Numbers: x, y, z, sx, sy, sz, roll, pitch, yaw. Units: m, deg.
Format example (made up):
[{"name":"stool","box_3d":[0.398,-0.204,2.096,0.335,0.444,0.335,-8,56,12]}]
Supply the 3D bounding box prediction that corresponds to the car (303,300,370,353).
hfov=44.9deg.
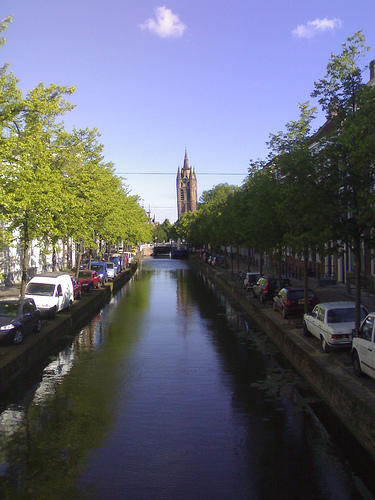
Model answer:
[{"name":"car","box_3d":[3.737,2.015,11.772,0.761,0.735,1.821,-2,7,-6]}]

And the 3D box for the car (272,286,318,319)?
[{"name":"car","box_3d":[4.172,2.118,17.750,0.827,0.840,1.667,-2,7,-4]}]

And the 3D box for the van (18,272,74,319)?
[{"name":"van","box_3d":[-5.902,1.877,19.159,1.205,1.208,2.378,0,-2,1]}]

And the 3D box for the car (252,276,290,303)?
[{"name":"car","box_3d":[4.148,1.915,23.435,0.929,0.934,1.908,-1,8,-2]}]
